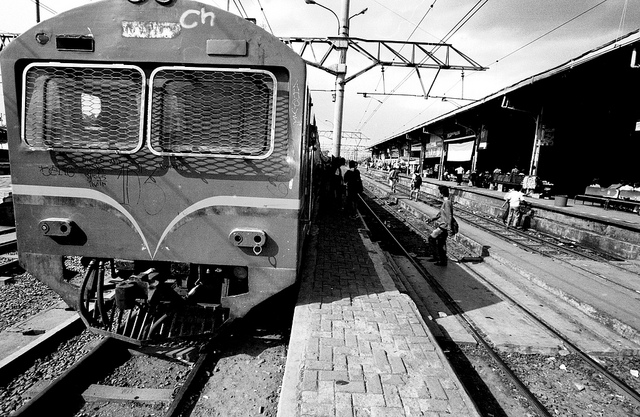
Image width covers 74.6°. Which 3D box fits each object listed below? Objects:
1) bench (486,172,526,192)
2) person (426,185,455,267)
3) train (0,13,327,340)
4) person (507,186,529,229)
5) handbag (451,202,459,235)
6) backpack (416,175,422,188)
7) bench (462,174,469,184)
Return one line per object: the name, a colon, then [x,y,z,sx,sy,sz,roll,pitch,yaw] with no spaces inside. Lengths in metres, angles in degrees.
bench: [11.265,-1.726,25.645,0.600,1.106,4.471,3,11,5]
person: [3.169,0.457,10.988,0.558,2.197,0.891,5,12,17]
train: [-2.278,-1.010,8.694,3.107,3.100,6.346,2,11,3]
person: [7.456,0.032,15.995,0.616,1.394,0.824,7,12,24]
handbag: [3.433,0.298,10.837,0.200,0.747,0.443,6,12,18]
backpack: [5.076,-1.457,22.061,0.334,0.476,0.473,-2,-5,8]
bench: [12.113,-2.473,35.237,0.271,0.765,1.157,-4,23,13]
